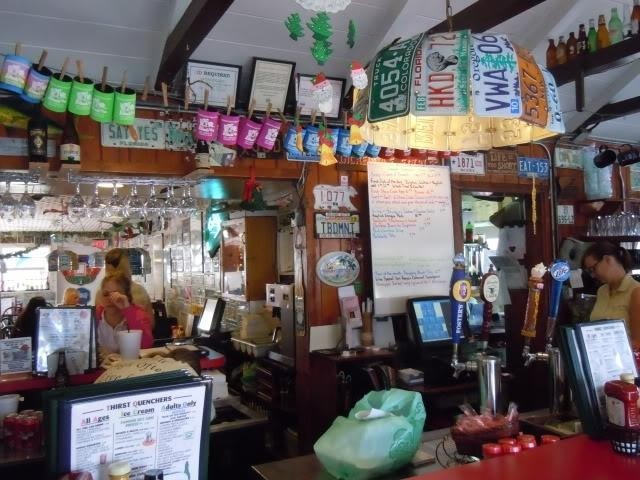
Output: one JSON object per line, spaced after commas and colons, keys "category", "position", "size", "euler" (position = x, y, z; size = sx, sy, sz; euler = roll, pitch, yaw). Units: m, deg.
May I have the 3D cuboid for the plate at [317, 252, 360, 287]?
{"category": "plate", "position": [0.154, 0.240, 4.247], "size": [0.332, 0.291, 0.104], "euler": [-5, 2, -23]}

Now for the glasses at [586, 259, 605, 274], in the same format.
{"category": "glasses", "position": [2.274, 0.228, 4.127], "size": [0.112, 0.035, 0.107], "euler": [-34, -4, 7]}

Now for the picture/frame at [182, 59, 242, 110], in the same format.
{"category": "picture/frame", "position": [-0.829, -1.190, 3.767], "size": [0.425, 0.311, 0.058], "euler": [-5, 20, -22]}

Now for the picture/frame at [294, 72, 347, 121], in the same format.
{"category": "picture/frame", "position": [-0.012, -1.086, 3.715], "size": [0.600, 0.441, 0.060], "euler": [-6, 18, -25]}

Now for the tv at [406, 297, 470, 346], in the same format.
{"category": "tv", "position": [0.941, 0.648, 4.101], "size": [0.449, 0.356, 0.234], "euler": [0, -5, -25]}

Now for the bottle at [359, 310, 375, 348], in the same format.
{"category": "bottle", "position": [0.401, 0.744, 4.236], "size": [0.109, 0.286, 0.171], "euler": [-2, -4, 5]}

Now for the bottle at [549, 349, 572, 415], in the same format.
{"category": "bottle", "position": [1.137, 0.668, 2.362], "size": [0.090, 0.327, 0.166], "euler": [-4, -5, 24]}

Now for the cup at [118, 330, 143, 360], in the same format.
{"category": "cup", "position": [-1.304, 0.711, 3.423], "size": [0.178, 0.209, 0.183], "euler": [1, -1, 0]}

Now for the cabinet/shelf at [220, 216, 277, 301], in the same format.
{"category": "cabinet/shelf", "position": [-0.823, 0.202, 5.890], "size": [0.336, 0.946, 0.894], "euler": [1, 11, -21]}

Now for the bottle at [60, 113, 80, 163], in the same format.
{"category": "bottle", "position": [-1.745, -0.702, 3.492], "size": [0.126, 0.390, 0.219], "euler": [1, -5, -27]}

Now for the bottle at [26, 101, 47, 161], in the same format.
{"category": "bottle", "position": [-1.929, -0.712, 3.403], "size": [0.112, 0.409, 0.203], "euler": [1, -5, -31]}

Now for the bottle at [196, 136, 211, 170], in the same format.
{"category": "bottle", "position": [-0.867, -0.627, 3.671], "size": [0.103, 0.236, 0.195], "euler": [-1, -4, -13]}
